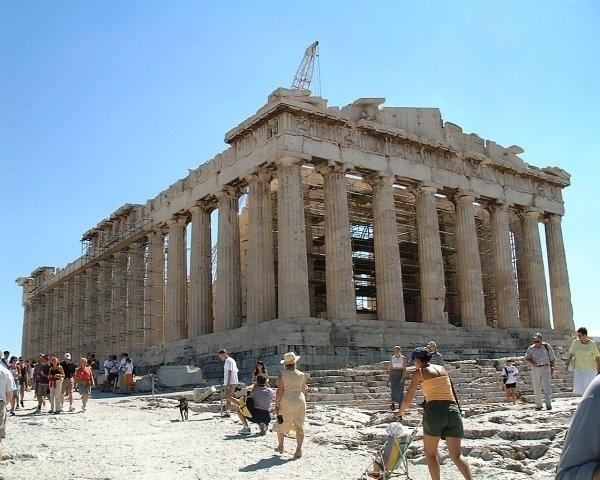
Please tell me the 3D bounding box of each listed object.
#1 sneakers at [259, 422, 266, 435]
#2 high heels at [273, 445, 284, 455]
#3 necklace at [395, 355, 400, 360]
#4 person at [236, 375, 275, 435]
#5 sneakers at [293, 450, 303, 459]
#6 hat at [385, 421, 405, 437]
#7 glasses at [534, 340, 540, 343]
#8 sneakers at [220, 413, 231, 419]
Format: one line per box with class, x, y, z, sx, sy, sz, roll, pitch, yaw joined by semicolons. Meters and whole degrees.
sneakers;-0.771;3.855;12.388;0.109;0.279;0.126;0;-3;-1
high heels;-0.385;3.777;10.860;0.132;0.088;0.167;-5;-16;9
necklace;2.570;3.086;15.934;0.107;0.129;0.033;-1;24;6
person;-0.901;3.373;12.366;0.733;1.195;1.010;-1;-15;-7
sneakers;-0.047;3.827;10.805;0.137;0.142;0.346;0;-24;-2
hat;1.372;2.722;8.762;0.244;0.122;0.292;2;-5;-14
glasses;5.741;2.446;14.630;0.081;0.025;0.077;-4;-44;14
sneakers;-1.907;4.435;15.291;0.113;0.123;0.315;6;-5;-31
